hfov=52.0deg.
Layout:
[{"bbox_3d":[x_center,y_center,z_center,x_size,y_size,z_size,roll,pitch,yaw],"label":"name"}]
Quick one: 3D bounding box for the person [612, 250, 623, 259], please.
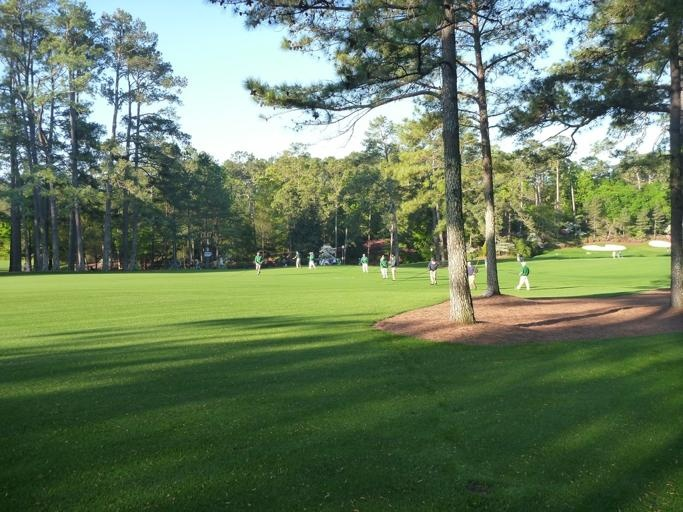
[{"bbox_3d":[26.582,-0.075,67.787,0.473,0.793,0.785,7,-7,6],"label":"person"}]
